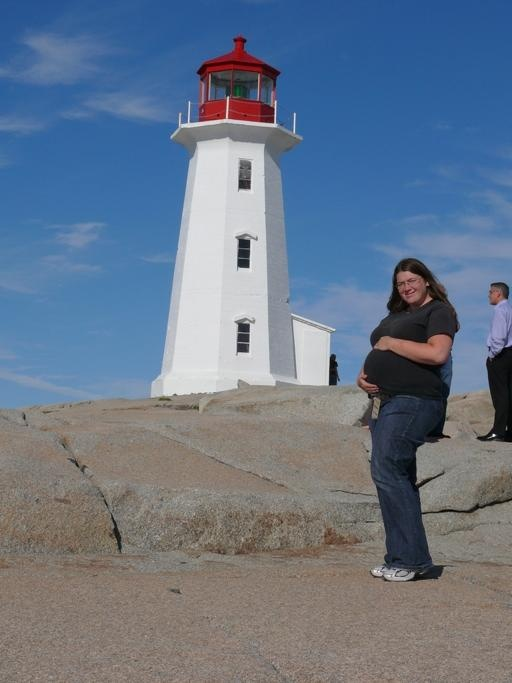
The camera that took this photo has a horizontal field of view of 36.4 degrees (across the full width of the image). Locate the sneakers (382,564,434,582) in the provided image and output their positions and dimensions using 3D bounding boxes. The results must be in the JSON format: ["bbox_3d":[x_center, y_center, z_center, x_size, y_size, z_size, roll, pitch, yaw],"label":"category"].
[{"bbox_3d":[0.864,1.291,4.344,0.294,0.107,0.096,6,-14,-19],"label":"sneakers"}]

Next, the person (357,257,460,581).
[{"bbox_3d":[0.896,0.423,4.643,0.829,1.880,0.681,5,-11,0],"label":"person"}]

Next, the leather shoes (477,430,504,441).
[{"bbox_3d":[2.492,0.976,8.206,0.250,0.119,0.445,2,-2,26],"label":"leather shoes"}]
